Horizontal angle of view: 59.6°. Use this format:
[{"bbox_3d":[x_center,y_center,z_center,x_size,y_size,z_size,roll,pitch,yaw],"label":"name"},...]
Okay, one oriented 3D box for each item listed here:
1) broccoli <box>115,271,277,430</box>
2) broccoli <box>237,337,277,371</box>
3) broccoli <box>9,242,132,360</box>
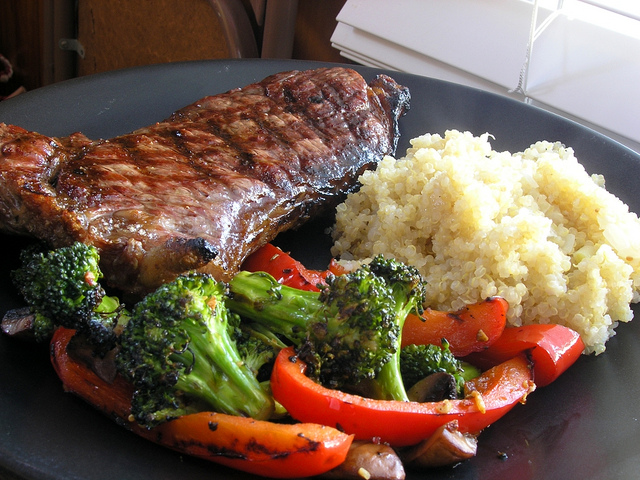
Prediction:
[{"bbox_3d":[-0.313,0.304,1.351,0.344,0.169,0.349,37,63,4],"label":"broccoli"},{"bbox_3d":[-0.157,0.275,1.404,0.075,0.076,0.055,18,76,31],"label":"broccoli"},{"bbox_3d":[-0.542,0.135,1.371,0.310,0.230,0.184,49,58,-30],"label":"broccoli"}]
